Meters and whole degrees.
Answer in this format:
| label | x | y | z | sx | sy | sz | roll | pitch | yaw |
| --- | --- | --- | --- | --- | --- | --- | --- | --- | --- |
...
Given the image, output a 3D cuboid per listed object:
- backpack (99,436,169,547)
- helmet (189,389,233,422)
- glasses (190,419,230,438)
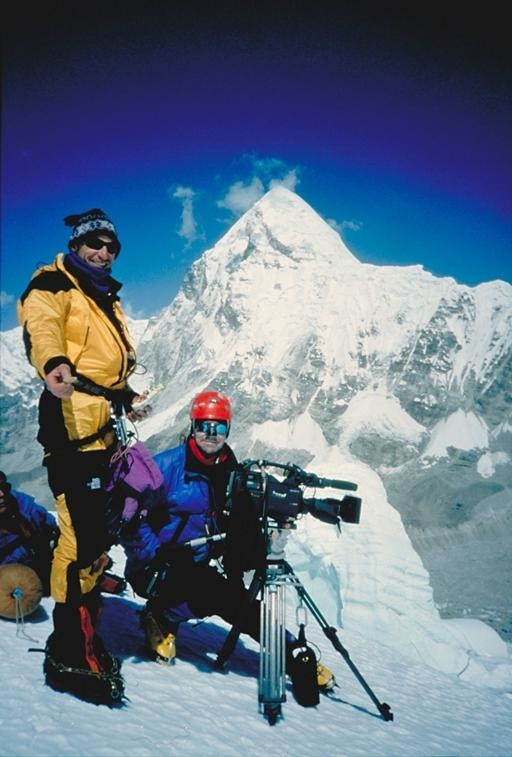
| label | x | y | z | sx | sy | sz | roll | pitch | yaw |
| --- | --- | --- | --- | --- | --- | --- | --- | --- | --- |
| backpack | -1.158 | 1.003 | 6.458 | 0.334 | 0.660 | 0.844 | 13 | 72 | 33 |
| helmet | -0.503 | 0.364 | 7.728 | 0.326 | 0.391 | 0.355 | 5 | 61 | -7 |
| glasses | -0.481 | 0.515 | 7.531 | 0.209 | 0.263 | 0.089 | 9 | 66 | -3 |
